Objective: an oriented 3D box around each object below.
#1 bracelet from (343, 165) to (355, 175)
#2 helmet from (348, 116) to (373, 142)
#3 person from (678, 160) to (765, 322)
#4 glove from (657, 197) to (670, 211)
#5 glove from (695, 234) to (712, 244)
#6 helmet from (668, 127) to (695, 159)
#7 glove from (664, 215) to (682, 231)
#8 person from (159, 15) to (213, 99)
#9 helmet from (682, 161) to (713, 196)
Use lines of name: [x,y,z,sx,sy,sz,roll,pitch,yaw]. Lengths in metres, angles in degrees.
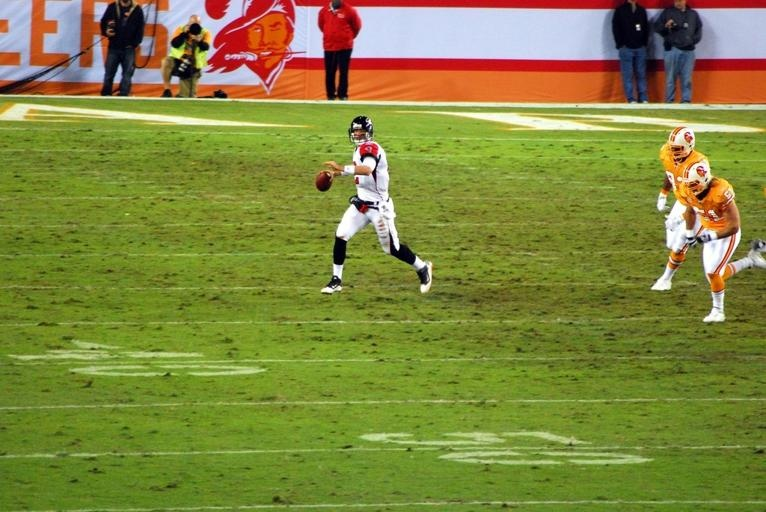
bracelet: [-0.427,-1.051,15.879,0.159,0.100,0.127,1,34,-4]
helmet: [-0.292,-1.580,16.307,0.257,0.330,0.255,4,4,3]
person: [4.099,-0.180,16.058,0.914,1.987,1.042,5,4,12]
glove: [3.785,-0.690,17.542,0.234,0.183,0.091,5,7,11]
glove: [3.908,-0.206,15.820,0.148,0.131,0.338,3,3,2]
helmet: [3.692,-1.393,16.093,0.306,0.399,0.222,4,4,5]
glove: [3.818,-0.420,17.040,0.204,0.184,0.112,14,-10,28]
person: [-3.622,-3.639,23.677,0.848,1.445,1.003,3,4,-9]
helmet: [3.790,-0.943,15.684,0.356,0.434,0.273,0,6,-41]
